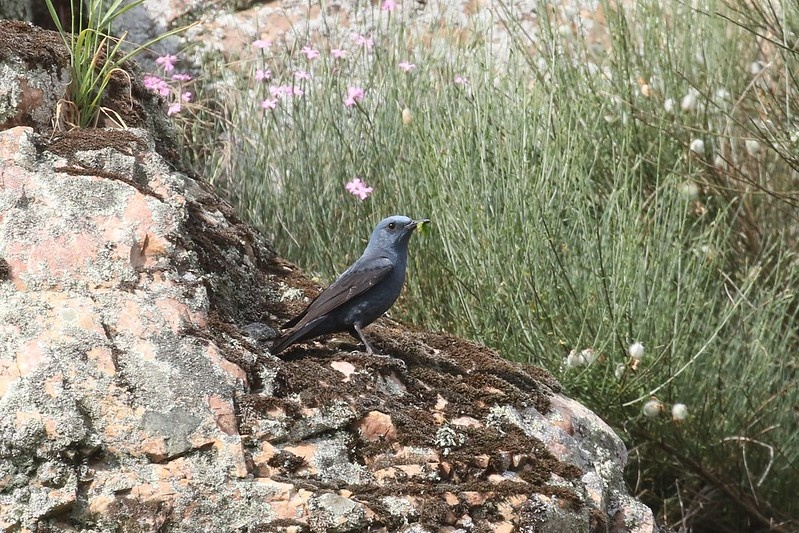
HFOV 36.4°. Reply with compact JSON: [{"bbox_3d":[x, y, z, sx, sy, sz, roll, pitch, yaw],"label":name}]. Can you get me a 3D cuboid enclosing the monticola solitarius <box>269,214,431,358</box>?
[{"bbox_3d":[-0.322,0.140,7.019,0.907,0.798,0.366,-4,-15,10],"label":"monticola solitarius"}]
